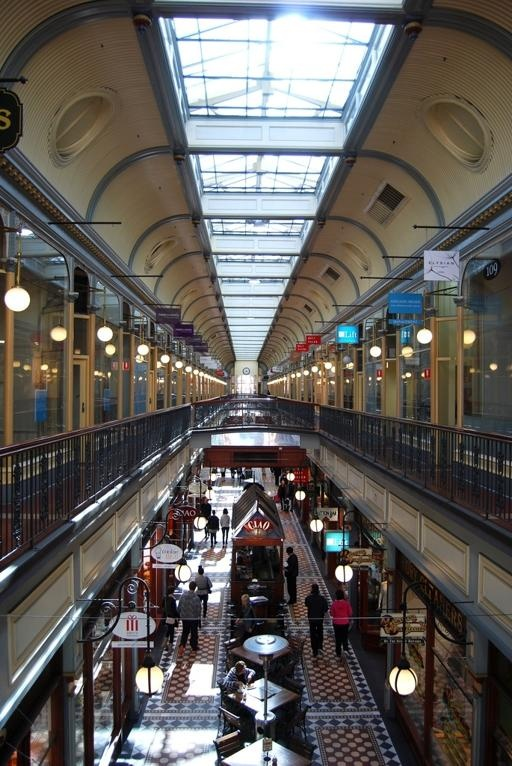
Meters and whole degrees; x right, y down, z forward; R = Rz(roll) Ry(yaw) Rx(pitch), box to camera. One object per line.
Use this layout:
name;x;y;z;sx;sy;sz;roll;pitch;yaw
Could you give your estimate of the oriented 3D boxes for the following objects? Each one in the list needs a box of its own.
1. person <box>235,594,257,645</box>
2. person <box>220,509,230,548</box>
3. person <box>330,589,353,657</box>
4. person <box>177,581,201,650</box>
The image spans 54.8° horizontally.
person;-0.188;4.573;9.302;0.325;1.170;0.346;-3;4;-35
person;-1.027;4.897;16.869;0.292;1.215;0.901;-3;-2;-4
person;1.630;4.491;9.415;0.381;1.257;0.353;-2;12;0
person;-1.317;4.596;9.710;0.414;1.462;0.860;-3;-2;-10
